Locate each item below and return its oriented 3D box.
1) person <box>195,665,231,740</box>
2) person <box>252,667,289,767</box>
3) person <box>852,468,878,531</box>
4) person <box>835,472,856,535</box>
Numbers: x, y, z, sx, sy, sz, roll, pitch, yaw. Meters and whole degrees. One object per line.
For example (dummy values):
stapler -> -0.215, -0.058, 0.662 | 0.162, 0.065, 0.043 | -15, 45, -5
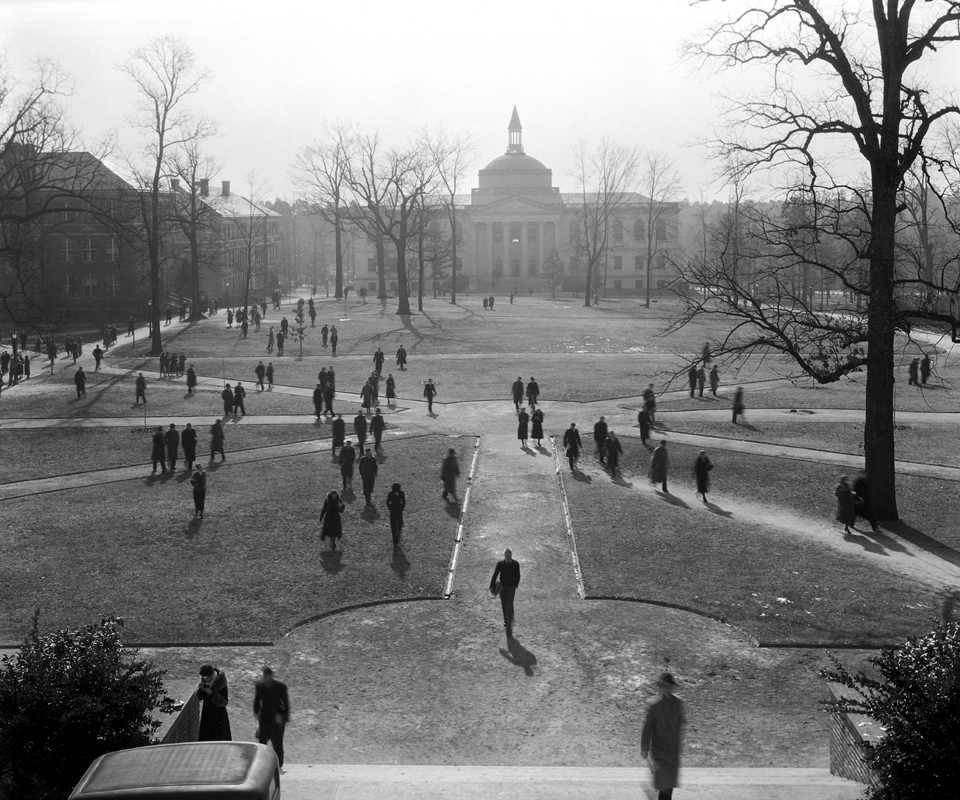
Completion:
person -> -3.586, 4.113, 13.809 | 0.397, 0.869, 0.715 | -4, 9, -17
person -> -2.819, 4.382, 13.994 | 0.439, 1.447, 1.325 | -3, 9, -14
person -> 9.536, 2.440, 25.386 | 0.406, 1.224, 0.757 | -6, 10, -29
person -> 8.924, 2.479, 25.089 | 0.434, 1.331, 1.331 | 2, 10, 20
